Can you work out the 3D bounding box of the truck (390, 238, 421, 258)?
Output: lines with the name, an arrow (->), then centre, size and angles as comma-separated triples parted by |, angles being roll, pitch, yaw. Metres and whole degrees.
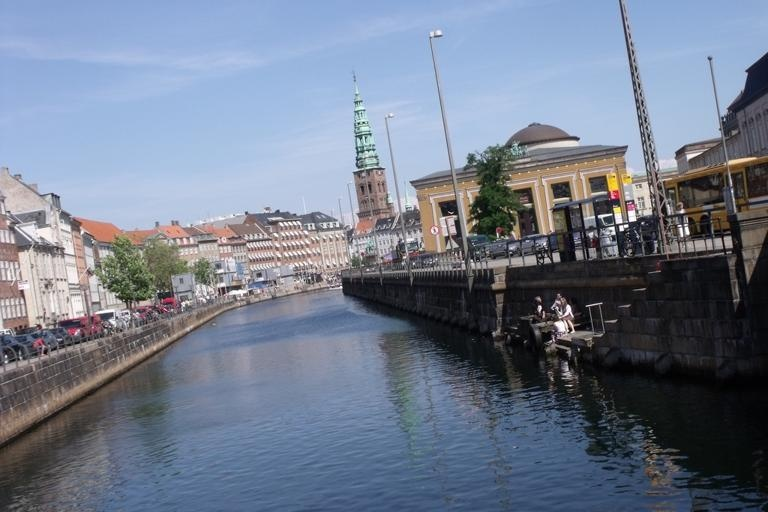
truck -> 3.378, -1.349, 98.505 | 3.462, 2.962, 5.180 | -1, -4, -10
